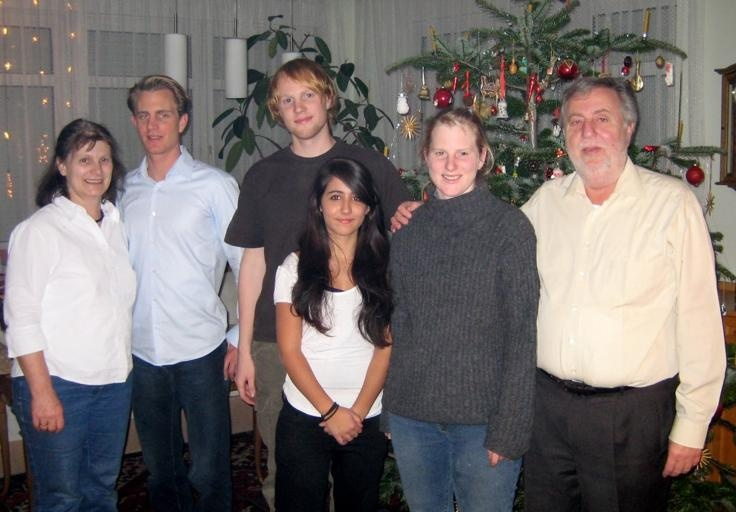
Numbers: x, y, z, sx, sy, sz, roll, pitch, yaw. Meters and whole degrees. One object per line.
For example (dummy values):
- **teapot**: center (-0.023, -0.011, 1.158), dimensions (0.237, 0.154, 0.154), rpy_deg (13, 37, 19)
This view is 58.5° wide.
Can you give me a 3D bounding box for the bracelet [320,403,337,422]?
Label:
- **bracelet**: center (-0.150, 0.638, 2.679), dimensions (0.019, 0.070, 0.074), rpy_deg (45, 39, 11)
